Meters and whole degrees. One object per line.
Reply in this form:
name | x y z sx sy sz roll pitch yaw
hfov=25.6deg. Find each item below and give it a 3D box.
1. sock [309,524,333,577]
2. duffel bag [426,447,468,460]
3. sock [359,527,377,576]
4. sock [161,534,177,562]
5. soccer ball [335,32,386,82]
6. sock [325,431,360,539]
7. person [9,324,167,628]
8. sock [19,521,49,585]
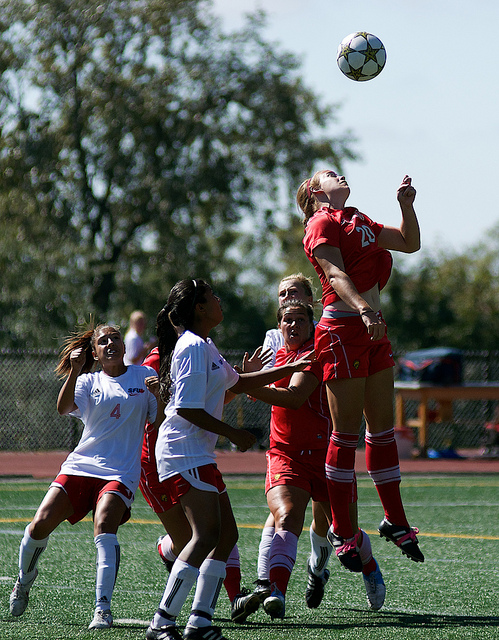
sock | 0.368 1.205 5.730 0.108 0.229 0.250 2 -4 4
duffel bag | 3.276 2.207 18.248 0.672 0.159 0.840 2 -4 9
sock | 0.627 1.203 5.699 0.069 0.213 0.093 -27 -45 26
sock | -0.453 1.237 5.963 0.068 0.186 0.082 -18 -43 -6
soccer ball | 0.687 -1.617 6.758 0.283 0.341 0.182 2 -5 3
sock | 0.456 0.830 5.565 0.160 0.534 0.152 2 -5 3
person | -0.867 0.727 5.467 0.888 1.578 0.659 -10 -28 24
sock | -1.055 1.122 5.341 0.123 0.282 0.228 3 -5 -10
